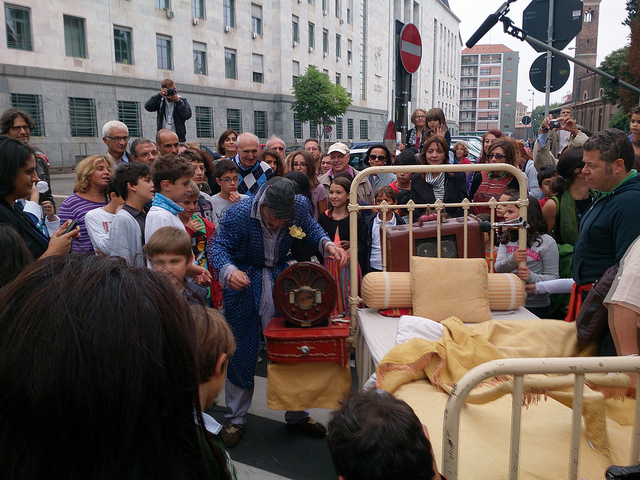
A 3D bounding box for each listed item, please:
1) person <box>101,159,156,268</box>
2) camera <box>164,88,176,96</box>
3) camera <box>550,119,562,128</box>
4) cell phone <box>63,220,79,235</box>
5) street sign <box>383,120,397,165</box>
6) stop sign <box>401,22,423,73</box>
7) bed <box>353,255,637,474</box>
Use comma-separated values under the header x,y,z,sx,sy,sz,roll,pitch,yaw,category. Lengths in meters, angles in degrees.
x,y,z,sx,sy,sz,roll,pitch,yaw,category
-1.399,-0.230,4.153,0.409,0.695,1.677,-2,5,-21,person
-1.971,-1.955,7.500,0.077,0.108,0.195,5,6,36,camera
2.648,-1.307,6.369,0.133,0.129,0.076,2,5,38,camera
-1.591,-0.078,3.583,0.065,0.076,0.159,0,5,-1,cell phone
0.912,-1.281,7.389,0.169,0.753,0.028,4,-31,5,street sign
1.071,-2.277,6.599,0.168,0.568,0.625,2,6,18,stop sign
0.984,0.658,3.379,1.367,0.879,2.052,0,5,-8,bed
